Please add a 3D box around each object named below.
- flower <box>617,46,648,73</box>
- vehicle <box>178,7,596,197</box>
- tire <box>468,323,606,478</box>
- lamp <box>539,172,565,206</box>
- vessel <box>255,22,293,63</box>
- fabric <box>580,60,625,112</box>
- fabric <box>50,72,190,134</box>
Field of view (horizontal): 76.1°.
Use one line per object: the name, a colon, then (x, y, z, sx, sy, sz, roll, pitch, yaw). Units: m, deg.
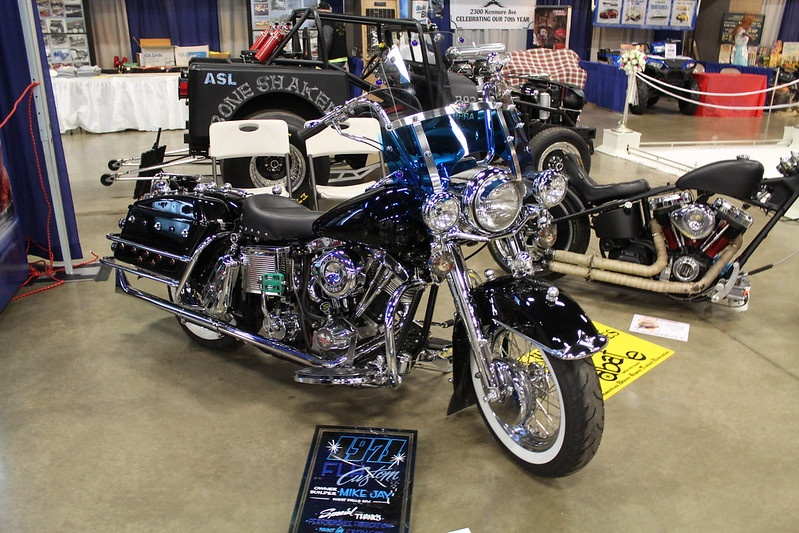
flower: (3.526, -3.186, 7.960, 0.311, 0.357, 0.426, 10, 23, 27)
vehicle: (-0.181, -1.605, 5.979, 4.922, 2.244, 2.352, -2, 31, -2)
tire: (0.650, 0.667, 2.500, 0.203, 0.718, 0.695, -16, 67, -40)
lamp: (0.750, -0.379, 2.500, 0.154, 0.155, 0.138, 12, 13, 39)
vessel: (-1.312, -2.456, 5.588, 0.167, 0.397, 0.094, 32, 34, -21)
fabric: (4.466, -3.967, 11.357, 1.672, 0.924, 0.163, -9, 12, -43)
fabric: (-4.441, -2.704, 8.519, 1.682, 0.643, 2.435, -2, 14, -8)
